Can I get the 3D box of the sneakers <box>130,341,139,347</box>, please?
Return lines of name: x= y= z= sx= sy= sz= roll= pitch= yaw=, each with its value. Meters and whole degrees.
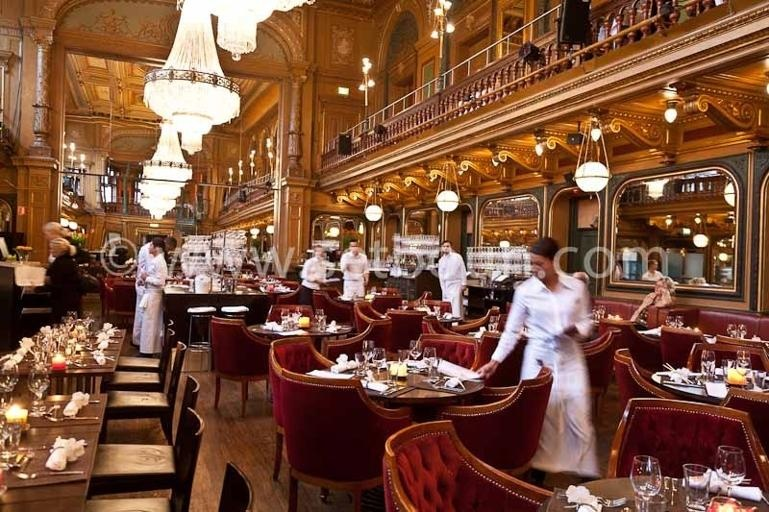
sneakers: x=-4.298 y=1.488 z=10.163 sx=0.129 sy=0.119 sz=0.130 roll=6 pitch=1 yaw=-1

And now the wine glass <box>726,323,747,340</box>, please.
wine glass: x=4.462 y=0.947 z=7.451 sx=0.278 sy=0.269 sz=0.165 roll=0 pitch=-6 yaw=3

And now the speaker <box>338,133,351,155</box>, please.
speaker: x=-1.157 y=-3.295 z=17.286 sx=0.387 sy=0.584 sz=0.337 roll=4 pitch=-1 yaw=-1

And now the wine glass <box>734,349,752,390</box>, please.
wine glass: x=3.381 y=1.047 z=5.533 sx=0.124 sy=0.255 sz=0.228 roll=3 pitch=-1 yaw=32

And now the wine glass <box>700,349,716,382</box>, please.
wine glass: x=3.049 y=1.018 z=5.545 sx=0.105 sy=0.215 sz=0.217 roll=3 pitch=-1 yaw=26

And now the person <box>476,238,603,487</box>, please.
person: x=1.495 y=0.900 z=5.311 sx=0.914 sy=1.792 sz=0.281 roll=3 pitch=-1 yaw=14

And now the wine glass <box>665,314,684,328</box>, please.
wine glass: x=4.118 y=0.916 z=8.374 sx=0.188 sy=0.200 sz=0.195 roll=1 pitch=-5 yaw=-4
